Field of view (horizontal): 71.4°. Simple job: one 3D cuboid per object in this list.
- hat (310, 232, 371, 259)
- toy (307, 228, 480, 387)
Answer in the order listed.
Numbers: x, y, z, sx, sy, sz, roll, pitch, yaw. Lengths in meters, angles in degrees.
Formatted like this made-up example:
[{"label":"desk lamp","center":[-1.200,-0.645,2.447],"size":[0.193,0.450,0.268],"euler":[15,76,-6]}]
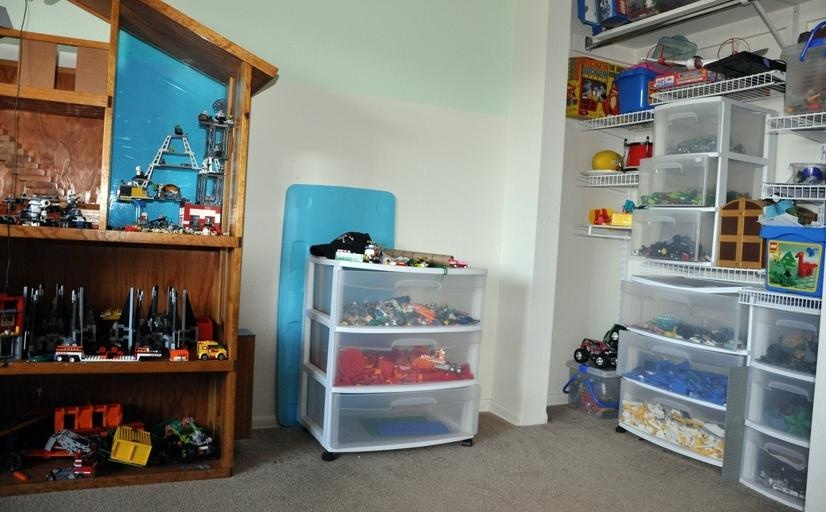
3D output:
[{"label":"hat","center":[-0.474,-0.086,3.838],"size":[0.326,0.114,0.201],"euler":[-1,4,-24]},{"label":"toy","center":[-0.090,0.360,4.069],"size":[1.494,1.012,0.869],"euler":[0,-1,-27]}]
